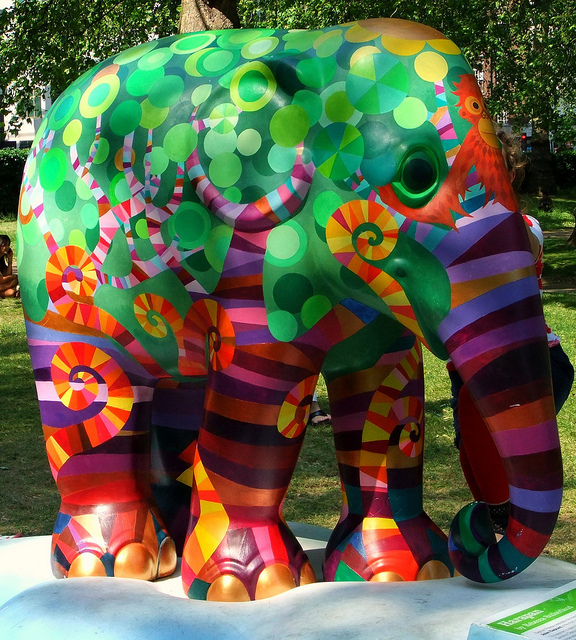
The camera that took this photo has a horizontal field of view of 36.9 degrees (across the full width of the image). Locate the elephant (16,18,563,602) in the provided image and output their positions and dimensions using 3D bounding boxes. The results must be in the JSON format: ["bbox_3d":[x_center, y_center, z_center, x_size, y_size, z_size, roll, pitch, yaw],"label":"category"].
[{"bbox_3d":[0.015,0.020,2.111,1.339,1.202,0.881,-1,-3,44],"label":"elephant"}]
